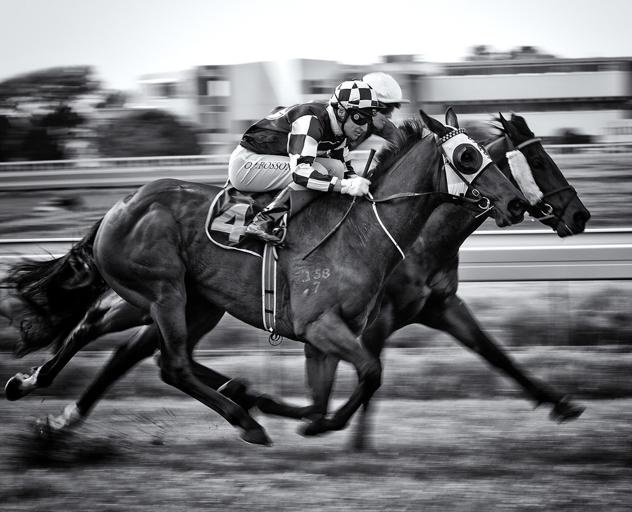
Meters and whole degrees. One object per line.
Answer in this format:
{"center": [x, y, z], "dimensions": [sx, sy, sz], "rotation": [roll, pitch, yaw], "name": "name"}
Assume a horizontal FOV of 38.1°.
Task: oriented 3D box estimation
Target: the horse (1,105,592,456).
{"center": [-0.208, 0.129, 4.505], "dimensions": [2.971, 1.675, 0.982], "rotation": [0, 15, 9], "name": "horse"}

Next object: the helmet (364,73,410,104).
{"center": [0.356, -0.886, 4.798], "dimensions": [0.325, 0.104, 0.176], "rotation": [14, 18, 0], "name": "helmet"}

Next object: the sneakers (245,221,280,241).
{"center": [-0.229, -0.110, 4.209], "dimensions": [0.222, 0.063, 0.054], "rotation": [11, 54, -5], "name": "sneakers"}

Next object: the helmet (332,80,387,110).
{"center": [0.220, -0.725, 4.159], "dimensions": [0.270, 0.077, 0.143], "rotation": [2, 14, 11], "name": "helmet"}

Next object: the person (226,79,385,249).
{"center": [-0.053, -0.449, 4.313], "dimensions": [0.744, 0.734, 0.449], "rotation": [-3, 14, -4], "name": "person"}

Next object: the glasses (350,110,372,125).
{"center": [0.203, -0.636, 4.199], "dimensions": [0.096, 0.039, 0.064], "rotation": [1, 53, -7], "name": "glasses"}

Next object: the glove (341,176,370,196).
{"center": [0.174, -0.317, 4.205], "dimensions": [0.134, 0.088, 0.106], "rotation": [-1, 12, 2], "name": "glove"}
